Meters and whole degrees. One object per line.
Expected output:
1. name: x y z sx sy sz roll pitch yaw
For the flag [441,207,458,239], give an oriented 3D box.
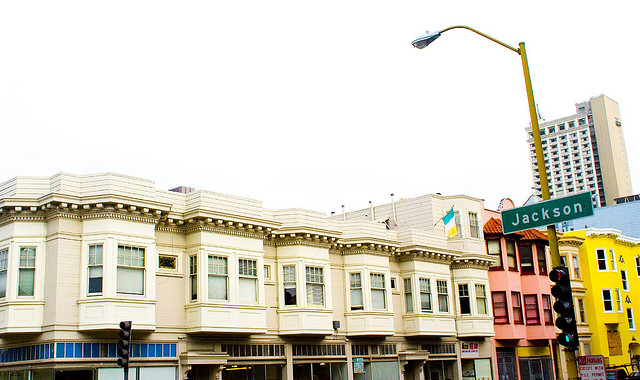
1. flag: 9.988 2.643 55.265 0.882 1.808 1.625 -7 -26 12
